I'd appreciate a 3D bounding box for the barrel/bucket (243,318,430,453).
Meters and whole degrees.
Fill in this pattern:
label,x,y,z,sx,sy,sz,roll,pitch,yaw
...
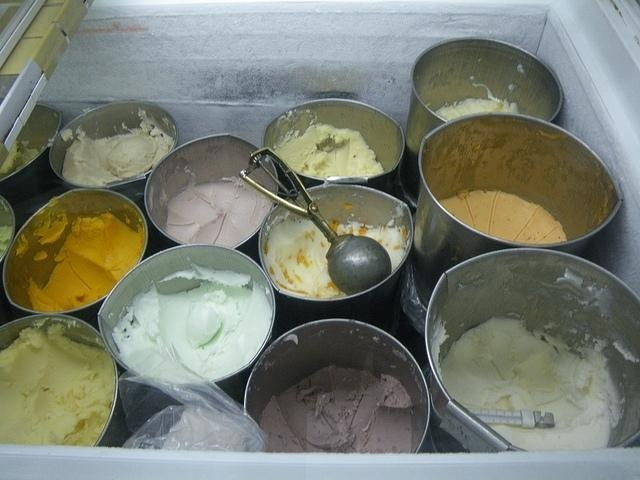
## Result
label,x,y,z,sx,sy,sz,roll,pitch,yaw
barrel/bucket,0.039,0.357,1.384,0.345,0.154,0.369,-1,33,1

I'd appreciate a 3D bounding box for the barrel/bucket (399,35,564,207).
label,x,y,z,sx,sy,sz,roll,pitch,yaw
barrel/bucket,0.447,-0.247,1.834,0.392,0.455,0.416,-1,58,2

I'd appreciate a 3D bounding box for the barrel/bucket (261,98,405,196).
label,x,y,z,sx,sy,sz,roll,pitch,yaw
barrel/bucket,0.050,-0.190,2.028,0.467,0.533,0.198,1,58,-5

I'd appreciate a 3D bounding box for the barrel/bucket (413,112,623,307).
label,x,y,z,sx,sy,sz,roll,pitch,yaw
barrel/bucket,0.414,-0.066,1.595,0.397,0.421,0.458,-30,68,-12

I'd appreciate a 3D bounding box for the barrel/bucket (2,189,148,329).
label,x,y,z,sx,sy,sz,roll,pitch,yaw
barrel/bucket,-0.637,0.034,1.691,0.306,0.145,0.362,-9,62,23
